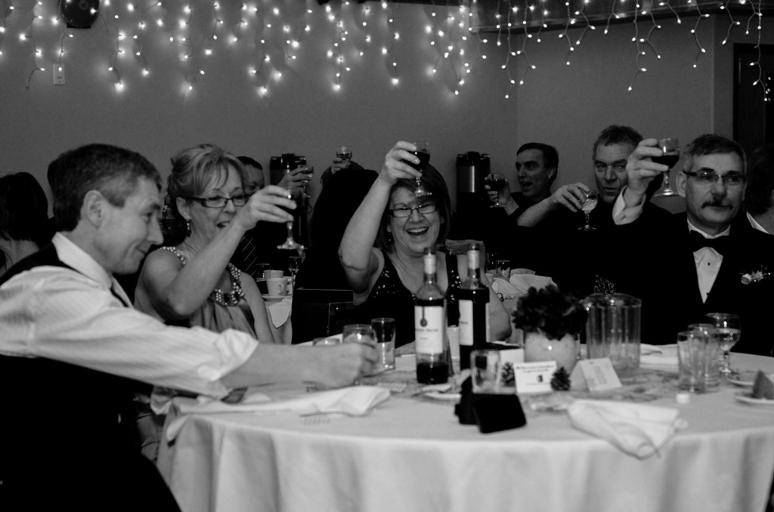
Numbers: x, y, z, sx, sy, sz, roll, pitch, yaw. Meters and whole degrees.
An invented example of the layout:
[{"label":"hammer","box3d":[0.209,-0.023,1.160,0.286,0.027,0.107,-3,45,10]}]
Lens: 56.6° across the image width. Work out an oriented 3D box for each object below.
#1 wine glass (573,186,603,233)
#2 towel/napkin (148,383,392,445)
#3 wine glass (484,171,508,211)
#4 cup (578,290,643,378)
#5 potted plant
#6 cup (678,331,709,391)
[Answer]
[{"label":"wine glass","box3d":[1.271,-0.288,4.549,0.138,0.253,0.141,4,14,26]},{"label":"towel/napkin","box3d":[-0.327,0.433,2.113,0.427,0.126,0.291,-1,-2,-4]},{"label":"wine glass","box3d":[0.853,-0.510,5.575,0.159,0.248,0.156,-9,-3,10]},{"label":"cup","box3d":[0.772,0.254,2.438,0.236,0.342,0.245,-1,-2,0]},{"label":"potted plant","box3d":[0.488,0.233,2.359,0.255,0.286,0.242,1,-5,-14]},{"label":"cup","box3d":[0.970,0.327,2.295,0.132,0.173,0.136,0,5,0]}]
